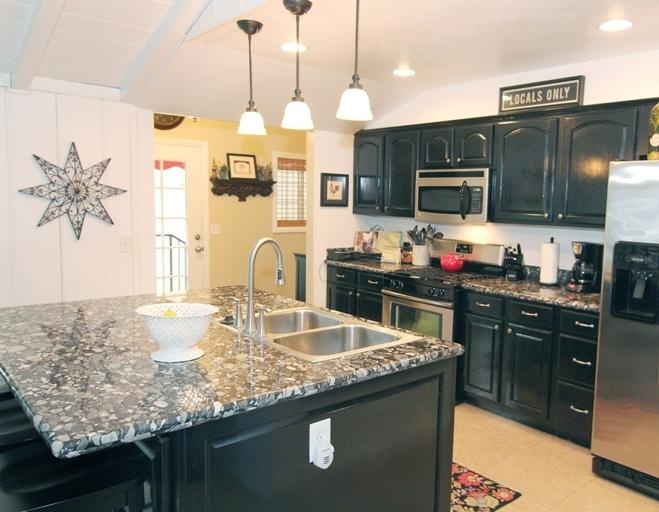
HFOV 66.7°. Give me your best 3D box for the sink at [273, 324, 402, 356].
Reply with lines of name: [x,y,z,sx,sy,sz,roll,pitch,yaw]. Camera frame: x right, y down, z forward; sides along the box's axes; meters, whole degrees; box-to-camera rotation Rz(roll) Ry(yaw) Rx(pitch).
sink: [0.028,0.434,2.543,0.334,0.131,0.261,-4,6,-43]

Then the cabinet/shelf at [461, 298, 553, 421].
cabinet/shelf: [1.534,0.769,4.057,0.781,0.994,0.550,7,11,43]

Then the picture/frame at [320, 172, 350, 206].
picture/frame: [0.061,-0.724,5.477,0.414,0.366,0.053,-9,14,-43]

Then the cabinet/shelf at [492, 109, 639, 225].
cabinet/shelf: [1.890,-0.688,4.006,1.055,0.876,0.360,9,16,42]

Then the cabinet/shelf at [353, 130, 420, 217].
cabinet/shelf: [0.617,-0.870,5.177,0.367,0.854,0.909,-2,6,-36]

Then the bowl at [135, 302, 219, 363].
bowl: [-0.678,0.327,2.237,0.321,0.225,0.370,-4,10,-22]

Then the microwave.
microwave: [1.178,-0.534,4.690,0.712,0.488,0.440,8,8,41]

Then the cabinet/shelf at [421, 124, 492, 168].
cabinet/shelf: [1.193,-0.998,4.636,0.678,0.376,0.233,3,10,32]

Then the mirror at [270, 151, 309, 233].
mirror: [-0.563,-0.895,7.075,0.635,1.120,0.111,-9,14,-41]

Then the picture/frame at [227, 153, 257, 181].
picture/frame: [-1.167,-1.172,6.553,0.388,0.318,0.028,-8,4,-44]

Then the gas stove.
gas stove: [0.895,0.244,4.501,0.388,0.202,0.835,-8,13,-42]

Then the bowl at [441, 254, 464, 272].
bowl: [1.122,0.064,4.568,0.159,0.115,0.168,0,0,0]
